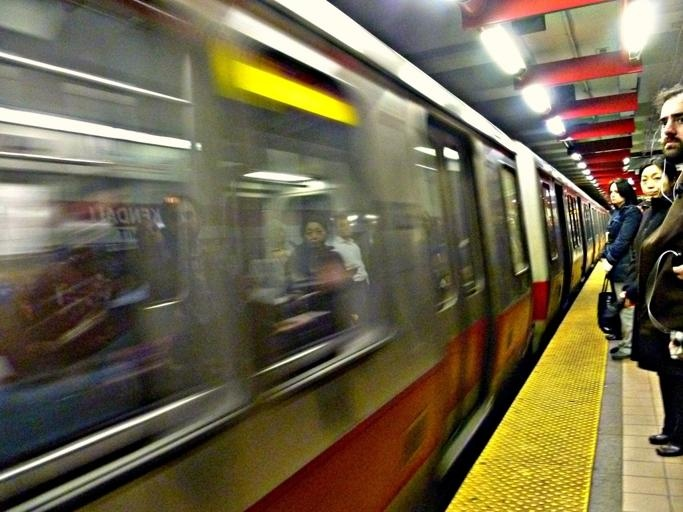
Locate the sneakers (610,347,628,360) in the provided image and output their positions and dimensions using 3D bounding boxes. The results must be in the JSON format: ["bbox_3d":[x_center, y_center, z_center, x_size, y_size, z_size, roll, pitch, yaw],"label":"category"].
[{"bbox_3d":[3.616,1.259,6.010,0.282,0.094,0.093,-1,0,-18],"label":"sneakers"}]
